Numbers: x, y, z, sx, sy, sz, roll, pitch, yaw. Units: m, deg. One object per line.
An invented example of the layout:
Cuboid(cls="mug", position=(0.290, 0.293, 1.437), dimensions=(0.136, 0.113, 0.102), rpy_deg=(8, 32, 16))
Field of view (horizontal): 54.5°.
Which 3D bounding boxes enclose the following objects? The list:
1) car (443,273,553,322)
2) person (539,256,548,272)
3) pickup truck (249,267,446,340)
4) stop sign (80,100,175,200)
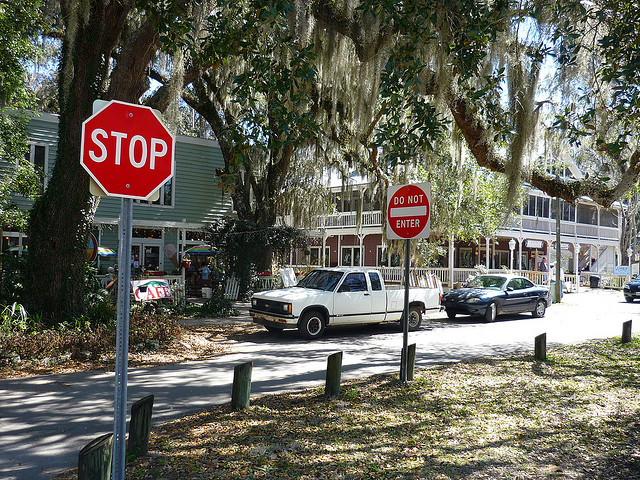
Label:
Cuboid(cls="car", position=(6.350, 2.057, 22.247), dimensions=(4.019, 1.589, 1.456), rpy_deg=(-3, 6, -34))
Cuboid(cls="person", position=(14.160, 1.508, 39.309), dimensions=(0.396, 1.305, 0.480), rpy_deg=(-18, 25, -30))
Cuboid(cls="pickup truck", position=(0.942, 1.777, 18.695), dimensions=(5.645, 2.236, 2.647), rpy_deg=(2, -2, -35))
Cuboid(cls="stop sign", position=(-2.341, -1.093, 7.570), dimensions=(1.080, 1.181, 0.313), rpy_deg=(-2, 5, -23))
